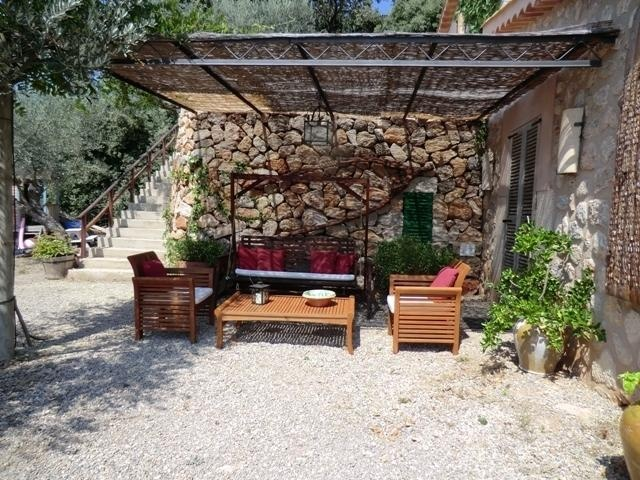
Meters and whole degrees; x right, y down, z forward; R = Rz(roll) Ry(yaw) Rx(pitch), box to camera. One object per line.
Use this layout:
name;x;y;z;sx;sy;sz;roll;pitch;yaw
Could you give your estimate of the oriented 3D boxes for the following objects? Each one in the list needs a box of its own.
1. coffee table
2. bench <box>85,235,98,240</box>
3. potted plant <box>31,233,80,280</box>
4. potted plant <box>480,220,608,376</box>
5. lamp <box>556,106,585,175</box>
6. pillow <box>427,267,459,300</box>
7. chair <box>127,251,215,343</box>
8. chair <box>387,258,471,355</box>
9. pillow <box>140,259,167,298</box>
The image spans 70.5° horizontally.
coffee table;-0.391;1.028;5.695;1.703;0.610;0.716;1;2;6
bench;-6.201;-0.037;12.326;0.216;0.200;0.943;0;2;-23
potted plant;-5.324;0.379;9.124;0.766;0.772;0.692;-1;3;-38
potted plant;2.454;0.613;4.943;1.095;1.619;0.860;2;3;21
lamp;2.839;-1.108;5.067;0.161;0.730;0.245;1;3;-14
pillow;1.572;0.508;5.548;0.140;0.348;0.369;27;-10;-6
chair;-2.000;0.720;6.265;1.284;1.285;1.090;1;5;1
chair;1.348;0.828;5.599;0.959;1.053;0.773;2;3;8
pillow;-2.140;0.486;5.879;0.193;0.326;0.506;-14;-2;28
